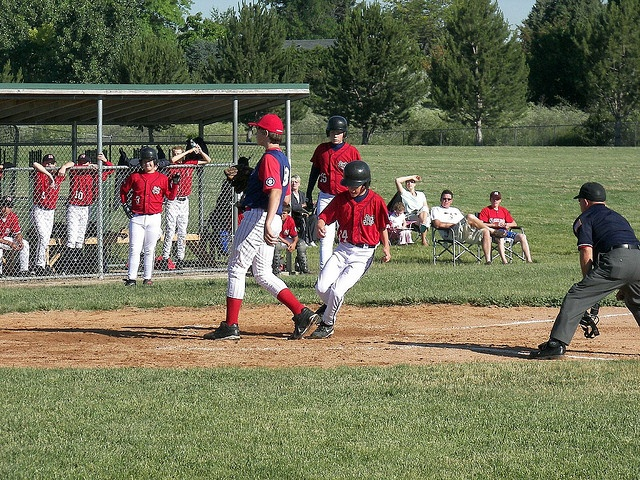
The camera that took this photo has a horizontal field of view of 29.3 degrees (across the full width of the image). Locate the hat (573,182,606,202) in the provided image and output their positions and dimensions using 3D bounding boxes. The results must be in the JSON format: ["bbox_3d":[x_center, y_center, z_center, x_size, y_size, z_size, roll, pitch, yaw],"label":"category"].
[{"bbox_3d":[4.645,-0.807,21.150,0.482,0.285,0.359,9,11,31],"label":"hat"}]

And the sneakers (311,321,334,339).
[{"bbox_3d":[0.029,1.673,22.036,0.187,0.236,0.511,15,9,42],"label":"sneakers"}]

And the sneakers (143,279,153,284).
[{"bbox_3d":[-3.659,0.914,26.002,0.134,0.093,0.079,-5,-3,36],"label":"sneakers"}]

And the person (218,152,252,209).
[{"bbox_3d":[-1.398,-1.072,22.091,0.740,0.980,0.437,1,4,24],"label":"person"}]

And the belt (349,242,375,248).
[{"bbox_3d":[0.784,0.130,21.892,0.391,0.101,0.078,1,2,1],"label":"belt"}]

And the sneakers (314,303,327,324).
[{"bbox_3d":[0.015,1.396,22.604,0.181,0.432,0.146,30,35,29],"label":"sneakers"}]

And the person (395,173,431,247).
[{"bbox_3d":[2.325,-0.844,30.613,0.811,1.425,1.821,1,2,5],"label":"person"}]

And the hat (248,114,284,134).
[{"bbox_3d":[-0.907,-2.046,21.810,0.456,0.404,0.960,0,2,-4],"label":"hat"}]

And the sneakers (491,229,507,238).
[{"bbox_3d":[4.195,-0.121,28.894,0.409,0.199,0.267,2,2,30],"label":"sneakers"}]

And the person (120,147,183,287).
[{"bbox_3d":[-3.695,-0.466,25.704,0.937,2.920,0.527,0,2,-11],"label":"person"}]

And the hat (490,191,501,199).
[{"bbox_3d":[4.225,-1.070,29.553,0.233,0.185,0.336,2,1,9],"label":"hat"}]

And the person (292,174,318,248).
[{"bbox_3d":[-0.380,-0.622,28.361,0.709,1.437,0.888,-16,14,-11],"label":"person"}]

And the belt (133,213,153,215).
[{"bbox_3d":[-3.712,-0.527,25.519,0.358,0.041,0.069,0,2,-13],"label":"belt"}]

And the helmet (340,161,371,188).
[{"bbox_3d":[0.690,-1.145,21.797,0.405,0.399,0.506,4,-2,45],"label":"helmet"}]

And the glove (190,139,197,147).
[{"bbox_3d":[-2.869,-2.145,27.705,0.069,0.191,0.141,-22,38,7],"label":"glove"}]

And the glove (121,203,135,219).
[{"bbox_3d":[-3.998,-0.593,25.662,0.129,0.334,0.244,-5,-11,-35],"label":"glove"}]

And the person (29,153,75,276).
[{"bbox_3d":[-5.944,-0.546,26.856,0.699,2.624,1.303,0,2,-13],"label":"person"}]

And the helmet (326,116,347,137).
[{"bbox_3d":[0.327,-2.200,23.602,0.298,0.286,0.347,2,4,11],"label":"helmet"}]

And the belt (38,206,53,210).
[{"bbox_3d":[-5.970,-0.687,26.687,0.324,0.095,0.096,-1,2,-38],"label":"belt"}]
